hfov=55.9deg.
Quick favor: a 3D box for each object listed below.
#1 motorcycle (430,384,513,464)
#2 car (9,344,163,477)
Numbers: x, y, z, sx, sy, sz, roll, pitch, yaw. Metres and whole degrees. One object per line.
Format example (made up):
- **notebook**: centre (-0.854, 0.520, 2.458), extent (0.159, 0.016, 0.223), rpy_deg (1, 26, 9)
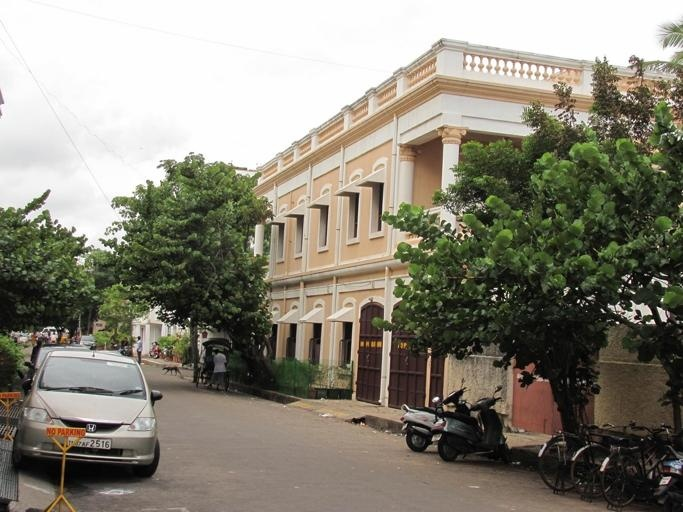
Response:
- **motorcycle**: centre (2.809, 3.735, 13.898), extent (1.606, 1.479, 0.684), rpy_deg (6, -12, -11)
- **car**: centre (-3.937, 2.358, 10.100), extent (1.442, 1.355, 2.678), rpy_deg (6, -20, -12)
